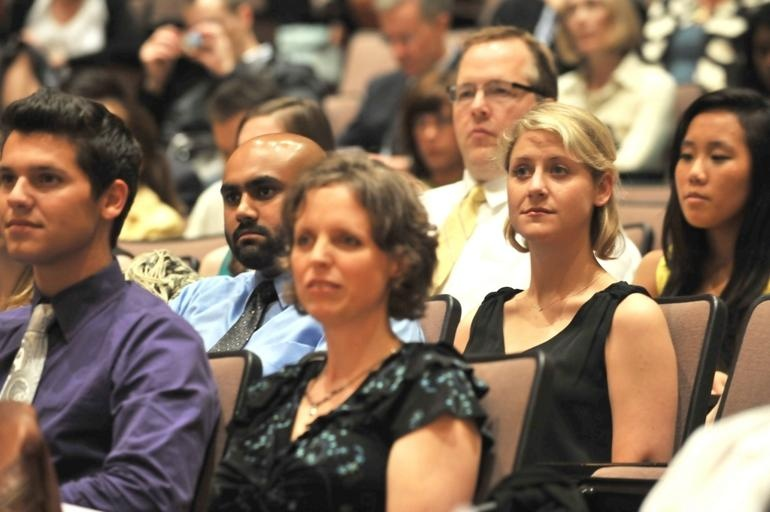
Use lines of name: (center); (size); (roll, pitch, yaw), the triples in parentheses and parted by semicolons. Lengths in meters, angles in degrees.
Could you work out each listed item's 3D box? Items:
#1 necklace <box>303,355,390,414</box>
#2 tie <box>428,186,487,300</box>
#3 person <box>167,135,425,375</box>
necklace: (-0.147, 0.487, 4.083); (0.064, 0.249, 0.195); (40, -23, -25)
tie: (0.345, -0.045, 5.221); (0.134, 0.605, 0.109); (31, -21, 15)
person: (-0.356, 0.015, 4.580); (0.671, 0.839, 1.378); (5, -7, -43)
